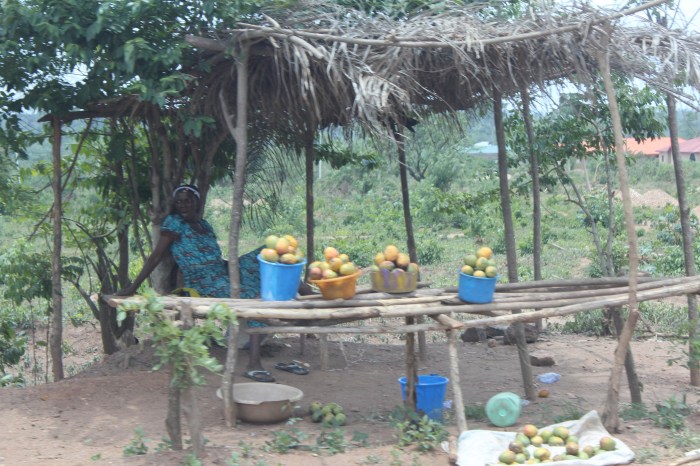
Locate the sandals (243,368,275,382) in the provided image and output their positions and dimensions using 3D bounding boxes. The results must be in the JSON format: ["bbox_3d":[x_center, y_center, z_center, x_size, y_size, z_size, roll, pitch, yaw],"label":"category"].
[{"bbox_3d":[-1.100,1.709,9.010,0.155,0.068,0.289,1,-2,-41],"label":"sandals"}]

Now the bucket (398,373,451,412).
[{"bbox_3d":[0.833,1.767,8.417,0.549,0.346,0.508,-1,-3,0],"label":"bucket"}]

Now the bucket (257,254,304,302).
[{"bbox_3d":[-0.695,0.437,7.325,0.503,0.330,0.454,6,0,12],"label":"bucket"}]

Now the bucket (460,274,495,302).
[{"bbox_3d":[1.290,0.555,7.633,0.339,0.192,0.313,2,1,0],"label":"bucket"}]
